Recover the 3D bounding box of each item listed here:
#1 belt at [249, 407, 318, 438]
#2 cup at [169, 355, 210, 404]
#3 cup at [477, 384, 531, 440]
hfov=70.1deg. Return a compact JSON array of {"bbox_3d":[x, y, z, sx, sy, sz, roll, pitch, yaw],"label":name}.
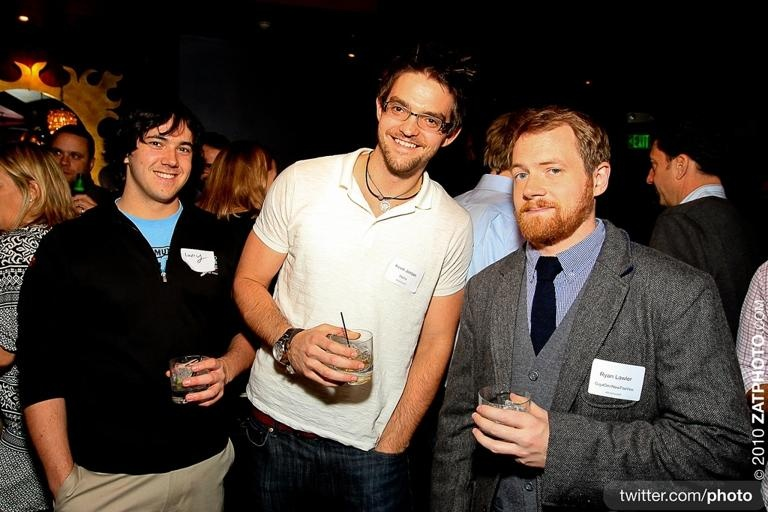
[{"bbox_3d":[-0.545,0.896,2.880,0.208,0.050,0.187,24,5,-14],"label":"belt"},{"bbox_3d":[-0.961,0.628,2.760,0.215,0.213,0.205,-4,-22,-1],"label":"cup"},{"bbox_3d":[0.556,0.705,2.477,0.264,0.174,0.240,-1,6,0],"label":"cup"}]
